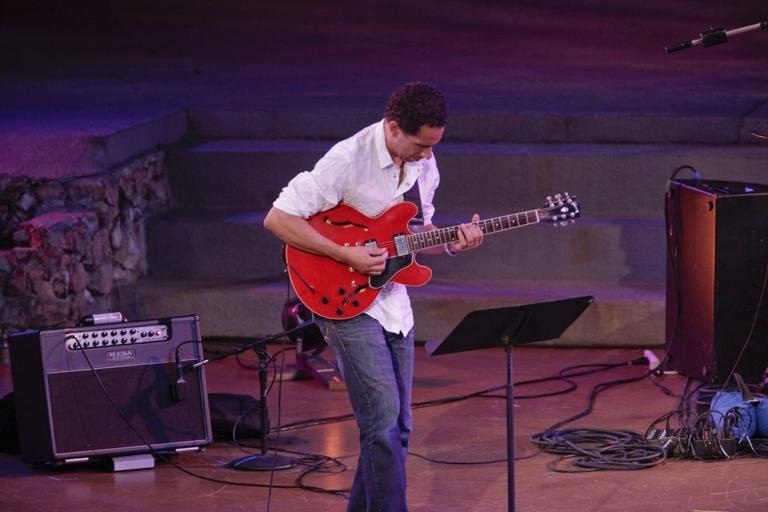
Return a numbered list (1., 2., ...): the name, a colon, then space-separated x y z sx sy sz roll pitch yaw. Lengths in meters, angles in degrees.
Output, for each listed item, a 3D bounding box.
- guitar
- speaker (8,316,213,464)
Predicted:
1. guitar: 0.290 -0.003 5.324 1.885 0.700 1.042 -12 -3 -18
2. speaker: -1.924 0.939 6.167 1.702 1.308 0.942 -3 -11 -19
